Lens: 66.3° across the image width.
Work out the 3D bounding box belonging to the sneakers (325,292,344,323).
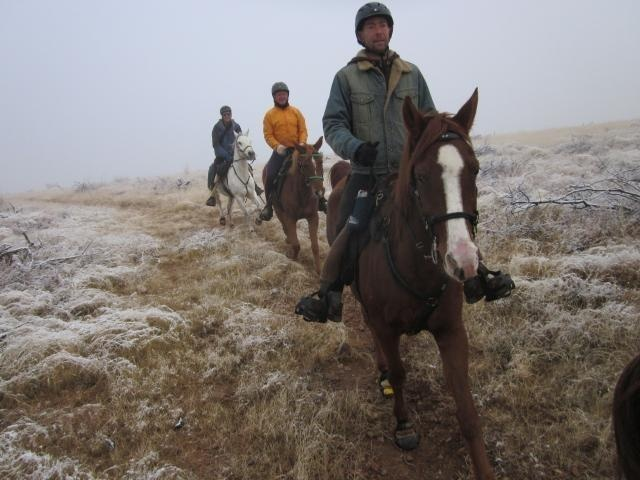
[{"bbox_3d":[0.221,0.957,7.037,0.194,0.426,0.149,1,-8,12],"label":"sneakers"}]

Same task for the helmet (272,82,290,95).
[{"bbox_3d":[-0.955,-3.499,11.394,0.327,0.222,0.351,-13,17,-17],"label":"helmet"}]

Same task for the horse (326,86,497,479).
[{"bbox_3d":[1.206,0.554,6.422,1.102,4.649,2.745,-13,16,-28],"label":"horse"}]
